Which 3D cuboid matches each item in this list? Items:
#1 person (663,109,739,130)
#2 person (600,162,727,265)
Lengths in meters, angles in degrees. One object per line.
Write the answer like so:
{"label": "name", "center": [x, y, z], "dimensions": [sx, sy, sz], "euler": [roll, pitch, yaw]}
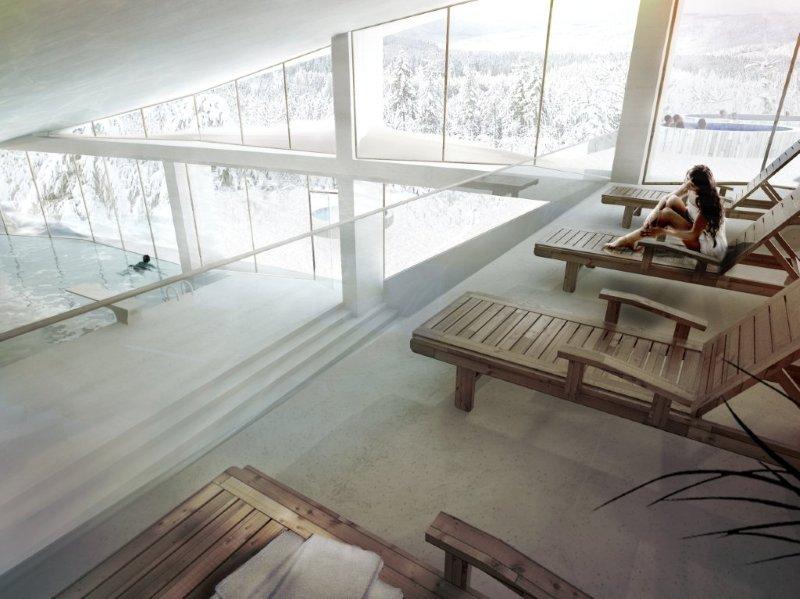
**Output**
{"label": "person", "center": [6.385, -3.843, 10.251], "dimensions": [1.419, 0.308, 0.171], "euler": [6, 30, 14]}
{"label": "person", "center": [2.494, -0.816, 4.448], "dimensions": [0.992, 0.792, 0.485], "euler": [9, 34, 25]}
